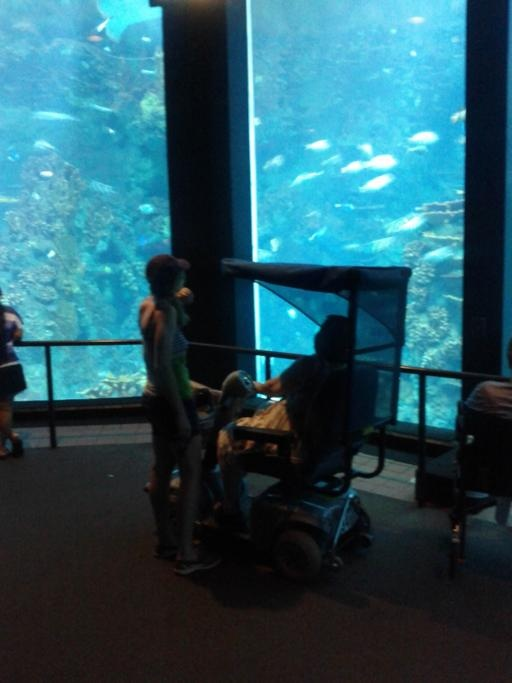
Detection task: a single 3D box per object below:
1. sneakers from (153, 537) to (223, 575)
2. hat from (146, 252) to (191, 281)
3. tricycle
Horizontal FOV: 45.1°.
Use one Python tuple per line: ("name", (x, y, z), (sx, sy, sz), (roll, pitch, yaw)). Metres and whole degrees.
("sneakers", (-0.347, 1.129, 3.270), (0.362, 0.144, 0.126), (-2, 5, -28))
("hat", (-0.435, -0.385, 3.128), (0.203, 0.095, 0.125), (-14, 19, -34))
("tricycle", (0.085, 0.407, 3.481), (1.267, 1.595, 0.838), (4, 6, 29))
